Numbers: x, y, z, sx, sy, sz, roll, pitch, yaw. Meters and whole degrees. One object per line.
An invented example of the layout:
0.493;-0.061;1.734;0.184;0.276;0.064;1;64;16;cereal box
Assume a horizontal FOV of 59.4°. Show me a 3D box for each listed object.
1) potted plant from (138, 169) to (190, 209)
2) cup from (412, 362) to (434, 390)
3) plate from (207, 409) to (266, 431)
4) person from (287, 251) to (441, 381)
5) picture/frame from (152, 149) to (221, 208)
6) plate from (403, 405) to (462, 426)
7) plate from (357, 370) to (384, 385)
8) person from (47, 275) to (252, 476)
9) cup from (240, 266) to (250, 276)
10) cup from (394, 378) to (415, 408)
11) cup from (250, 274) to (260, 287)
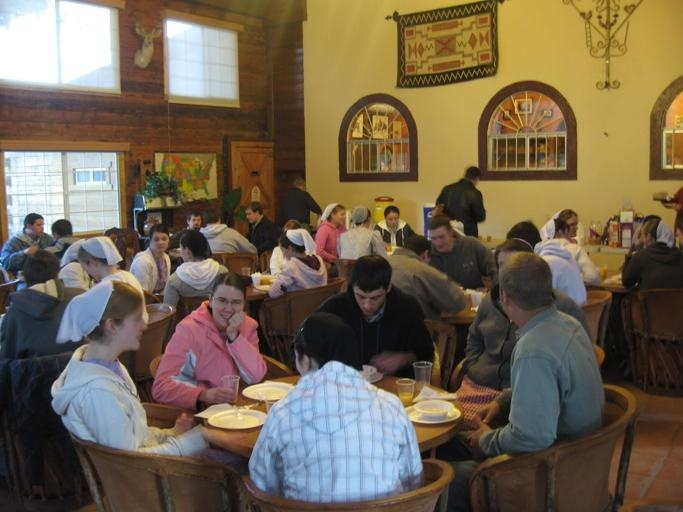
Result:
-2.861;-1.081;9.643;0.744;0.788;0.546;-2;10;-15;potted plant
0.411;0.598;3.052;0.118;0.138;0.119;0;6;0;cup
-0.470;0.739;2.675;0.137;0.012;0.137;-2;11;-24;plate
0.149;0.478;3.606;0.727;1.104;0.624;-4;35;-3;person
-2.647;-1.311;10.022;0.022;0.817;1.061;5;7;45;picture/frame
0.409;0.710;2.655;0.193;0.030;0.192;-2;6;-34;plate
0.160;0.621;3.068;0.125;0.019;0.129;6;8;42;plate
-0.906;0.542;2.709;0.765;0.840;0.625;-2;1;14;person
-0.978;0.150;6.140;0.097;0.081;0.090;1;2;0;cup
0.312;0.657;2.886;0.103;0.102;0.099;-1;10;0;cup
-0.791;0.223;5.500;0.096;0.113;0.103;2;4;0;cup
